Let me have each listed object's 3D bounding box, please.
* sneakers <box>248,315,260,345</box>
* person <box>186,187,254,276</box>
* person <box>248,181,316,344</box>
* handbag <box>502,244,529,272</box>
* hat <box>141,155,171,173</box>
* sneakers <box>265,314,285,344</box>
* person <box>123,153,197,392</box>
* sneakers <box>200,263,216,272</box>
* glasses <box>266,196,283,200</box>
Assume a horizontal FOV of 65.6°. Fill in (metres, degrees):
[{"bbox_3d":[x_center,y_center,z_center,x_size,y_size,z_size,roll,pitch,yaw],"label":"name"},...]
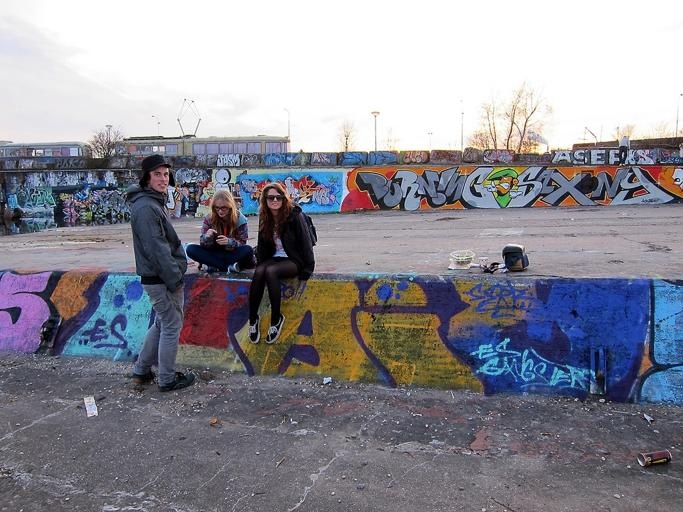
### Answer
[{"bbox_3d":[-1.082,0.913,6.550,0.118,0.348,0.119,-1,-2,21],"label":"sneakers"},{"bbox_3d":[-1.510,-0.356,7.268,0.995,1.335,0.968,0,5,-4],"label":"person"},{"bbox_3d":[-0.744,0.100,6.542,0.856,1.963,0.536,-2,11,-11],"label":"person"},{"bbox_3d":[2.138,0.024,6.567,0.318,0.334,0.267,-4,4,17],"label":"handbag"},{"bbox_3d":[-2.116,-1.063,6.059,0.288,0.187,0.210,-4,11,-20],"label":"hat"},{"bbox_3d":[-0.803,0.935,6.563,0.145,0.394,0.142,14,-12,29],"label":"sneakers"},{"bbox_3d":[-2.079,0.196,6.101,0.629,2.677,0.500,6,12,29],"label":"person"},{"bbox_3d":[-1.812,0.168,7.144,0.166,0.073,0.127,5,9,38],"label":"sneakers"},{"bbox_3d":[-0.804,-0.702,6.414,0.177,0.065,0.042,-1,11,-8],"label":"glasses"}]
